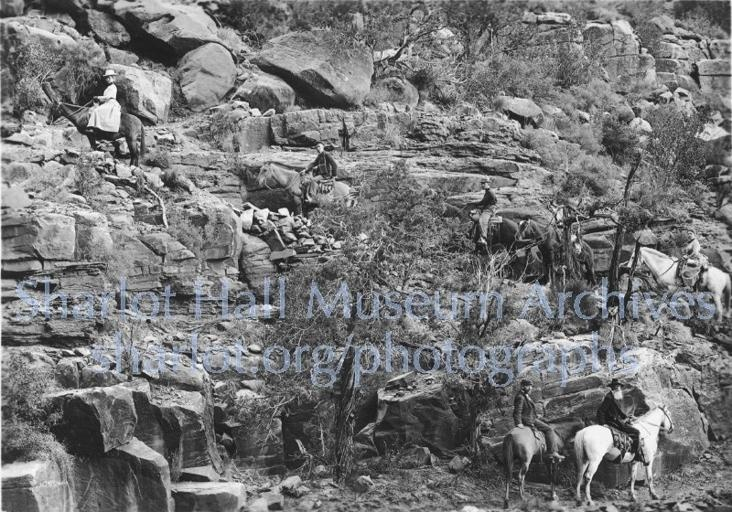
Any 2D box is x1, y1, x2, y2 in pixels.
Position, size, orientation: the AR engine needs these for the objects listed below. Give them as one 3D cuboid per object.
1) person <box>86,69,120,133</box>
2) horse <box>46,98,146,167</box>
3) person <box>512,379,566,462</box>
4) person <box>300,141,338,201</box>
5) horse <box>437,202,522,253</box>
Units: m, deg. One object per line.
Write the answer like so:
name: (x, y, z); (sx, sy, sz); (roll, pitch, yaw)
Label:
person: (-5.890, -3.500, 37.531); (0.676, 1.347, 0.560); (-2, -1, -11)
horse: (-6.143, -2.861, 37.698); (2.281, 1.966, 0.692); (0, 15, -5)
person: (3.604, 3.370, 34.819); (0.790, 1.823, 0.959); (-3, 2, -41)
person: (-1.045, -1.913, 38.268); (0.697, 1.369, 0.538); (0, -5, -41)
horse: (2.610, -0.661, 37.235); (1.610, 1.066, 0.542); (0, 1, 1)
